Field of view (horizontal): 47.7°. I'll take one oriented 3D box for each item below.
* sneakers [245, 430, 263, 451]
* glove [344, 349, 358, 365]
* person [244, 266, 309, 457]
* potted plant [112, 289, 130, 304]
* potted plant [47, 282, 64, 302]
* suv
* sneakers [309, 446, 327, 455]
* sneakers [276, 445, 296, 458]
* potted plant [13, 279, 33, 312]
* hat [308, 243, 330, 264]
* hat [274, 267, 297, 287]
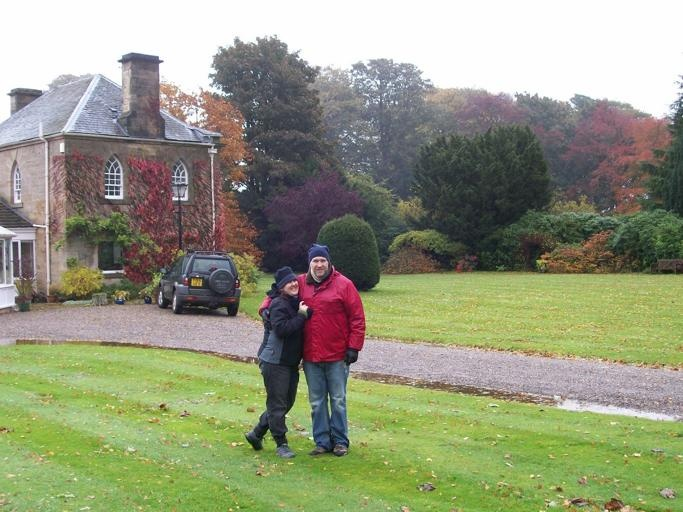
[{"bbox_3d":[-1.154,2.423,10.157,0.166,0.364,0.134,-12,-31,0],"label":"sneakers"},{"bbox_3d":[0.126,1.314,10.053,0.152,0.191,0.183,3,11,2],"label":"glove"},{"bbox_3d":[-0.804,1.358,10.034,0.752,2.409,0.491,0,4,-4],"label":"person"},{"bbox_3d":[-8.136,1.495,28.408,0.528,0.503,0.513,-1,0,-2],"label":"potted plant"},{"bbox_3d":[-10.749,1.390,29.205,0.643,0.626,0.362,1,4,9],"label":"potted plant"},{"bbox_3d":[-4.485,0.732,24.163,1.550,1.308,2.979,1,3,-20],"label":"suv"},{"bbox_3d":[-0.309,2.518,10.028,0.217,0.092,0.083,3,-3,-6],"label":"sneakers"},{"bbox_3d":[-0.718,2.506,9.950,0.119,0.109,0.243,2,-1,-43],"label":"sneakers"},{"bbox_3d":[-10.568,1.264,25.658,0.497,0.990,1.172,-2,5,-23],"label":"potted plant"},{"bbox_3d":[-0.299,-0.037,10.139,0.224,0.245,0.304,0,-13,-6],"label":"hat"},{"bbox_3d":[-0.744,0.268,10.075,0.281,0.224,0.223,-31,-1,35],"label":"hat"}]
